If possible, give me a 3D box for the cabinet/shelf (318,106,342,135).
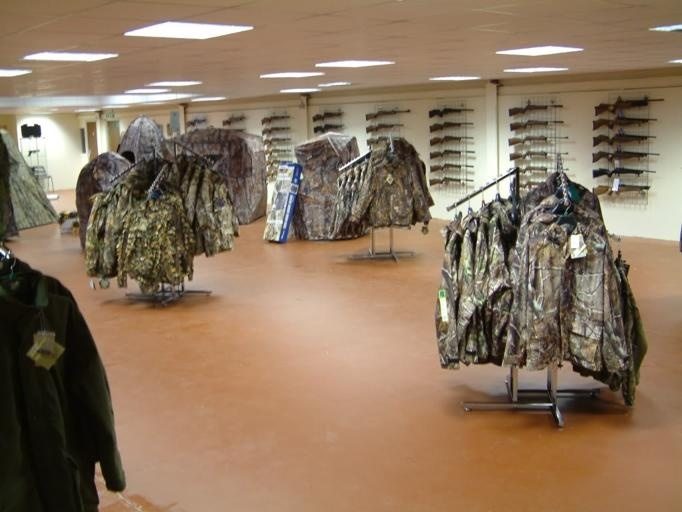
[{"bbox_3d":[-0.411,-3.960,14.066,0.383,0.659,1.039,-13,16,-41],"label":"cabinet/shelf"}]

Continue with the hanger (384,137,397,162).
[{"bbox_3d":[0.831,-1.837,8.206,0.170,0.367,0.476,-1,13,5],"label":"hanger"}]

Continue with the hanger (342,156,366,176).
[{"bbox_3d":[0.190,-1.656,8.730,0.534,0.303,0.391,0,13,11],"label":"hanger"}]

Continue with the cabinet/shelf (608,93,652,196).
[{"bbox_3d":[5.591,-2.135,9.383,0.749,1.896,0.519,5,13,33],"label":"cabinet/shelf"}]

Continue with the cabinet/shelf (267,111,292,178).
[{"bbox_3d":[-2.078,-3.682,15.858,0.833,1.771,0.925,-6,12,-34],"label":"cabinet/shelf"}]
